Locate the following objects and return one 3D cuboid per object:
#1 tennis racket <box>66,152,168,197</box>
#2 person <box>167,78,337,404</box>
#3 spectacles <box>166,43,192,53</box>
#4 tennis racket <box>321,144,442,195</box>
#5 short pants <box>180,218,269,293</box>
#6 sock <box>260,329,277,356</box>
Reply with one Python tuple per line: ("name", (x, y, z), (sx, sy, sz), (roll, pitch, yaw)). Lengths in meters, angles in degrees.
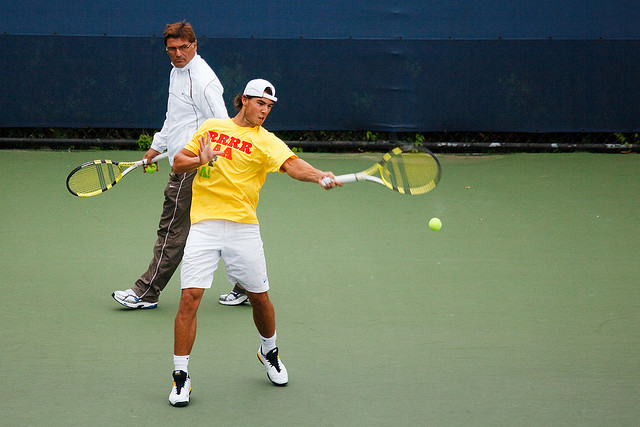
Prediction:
("tennis racket", (-2.285, -0.368, 6.508), (0.643, 0.361, 0.717), (1, 2, -23))
("person", (-0.645, 0.185, 4.787), (0.946, 2.386, 0.442), (1, 1, -14))
("spectacles", (-1.333, -1.564, 5.895), (0.232, 0.101, 0.063), (1, 1, 4))
("tennis racket", (0.560, -0.358, 4.978), (0.767, 0.389, 0.446), (1, 2, -11))
("short pants", (-0.768, 0.335, 4.892), (0.700, 0.674, 0.271), (1, -9, -7))
("sock", (-0.402, 0.992, 4.809), (0.078, 0.185, 0.170), (-3, -28, -15))
